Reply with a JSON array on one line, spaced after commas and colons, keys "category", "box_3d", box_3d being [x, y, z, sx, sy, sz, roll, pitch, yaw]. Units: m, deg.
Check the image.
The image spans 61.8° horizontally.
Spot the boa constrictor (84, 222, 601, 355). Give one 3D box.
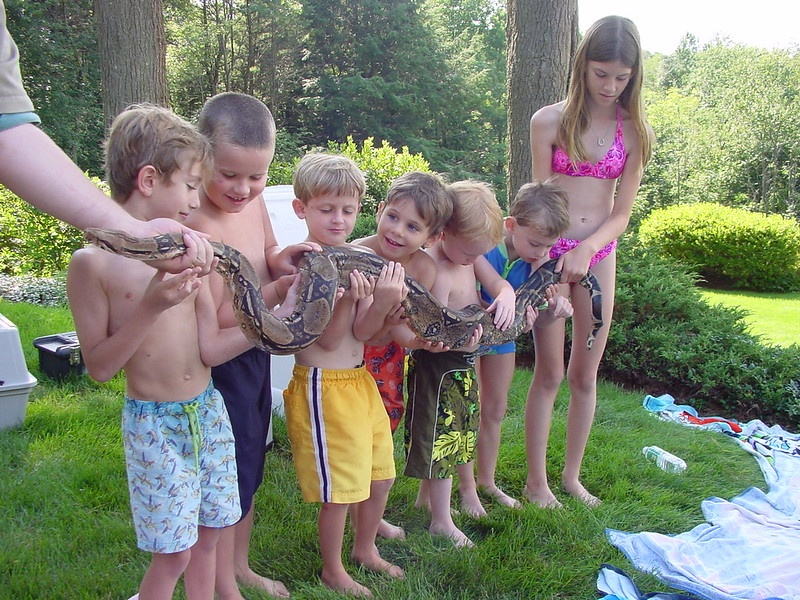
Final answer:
[{"category": "boa constrictor", "box_3d": [-0.333, 0.014, 5.328, 3.339, 1.254, 0.360, 10, -25, -30]}]

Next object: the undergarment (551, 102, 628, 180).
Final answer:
[{"category": "undergarment", "box_3d": [1.977, -1.509, 6.615, 0.554, 0.792, 0.286, 3, 9, -1]}]
